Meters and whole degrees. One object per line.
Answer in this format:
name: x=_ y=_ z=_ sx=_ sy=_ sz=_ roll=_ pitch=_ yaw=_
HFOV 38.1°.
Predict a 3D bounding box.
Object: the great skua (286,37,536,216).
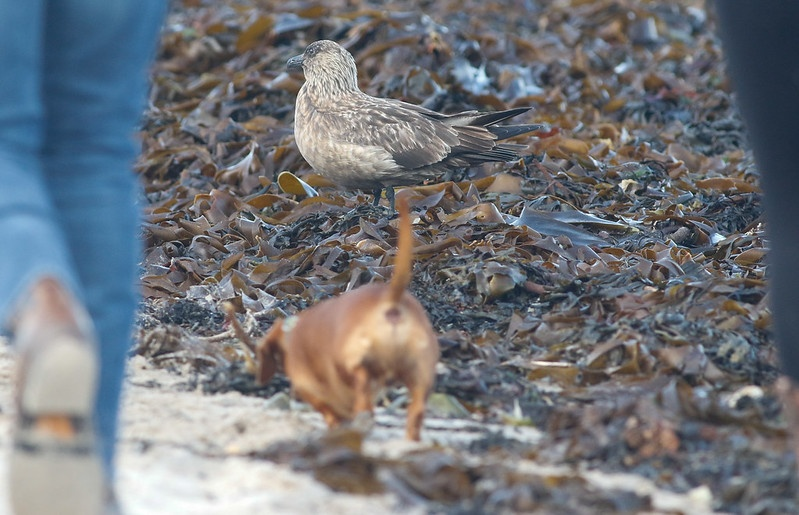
great skua: x=0.030 y=-0.620 z=5.548 sx=1.355 sy=0.722 sz=0.505 roll=-2 pitch=16 yaw=-25
